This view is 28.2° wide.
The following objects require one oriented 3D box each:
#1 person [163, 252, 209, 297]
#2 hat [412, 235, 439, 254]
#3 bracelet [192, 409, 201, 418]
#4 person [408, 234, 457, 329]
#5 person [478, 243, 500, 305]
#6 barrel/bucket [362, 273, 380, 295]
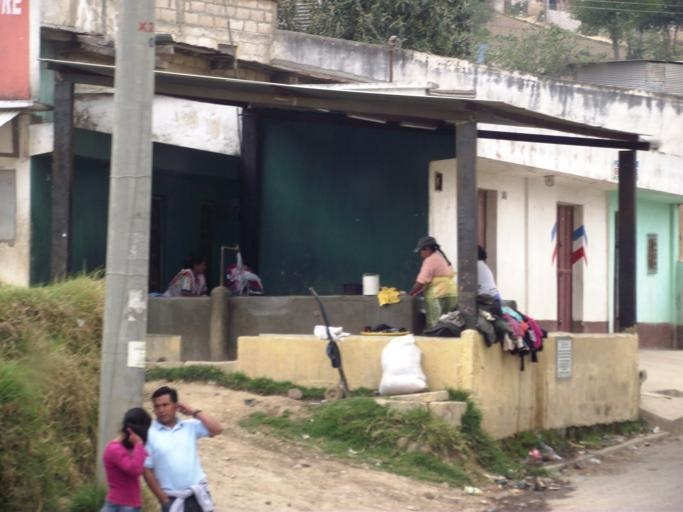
[{"bbox_3d":[-3.005,0.363,26.452,0.800,0.872,1.922,1,-4,-6],"label":"person"},{"bbox_3d":[1.487,-0.215,23.594,0.398,0.205,0.289,-4,-3,11],"label":"hat"},{"bbox_3d":[-1.985,2.165,18.868,0.091,0.036,0.094,-15,12,-28],"label":"bracelet"},{"bbox_3d":[1.618,0.441,23.479,0.802,1.577,0.613,0,-4,2],"label":"person"},{"bbox_3d":[2.608,0.292,23.843,0.378,0.961,1.029,0,-4,6],"label":"person"},{"bbox_3d":[0.522,0.509,24.389,0.333,0.368,0.333,0,-2,0],"label":"barrel/bucket"}]
